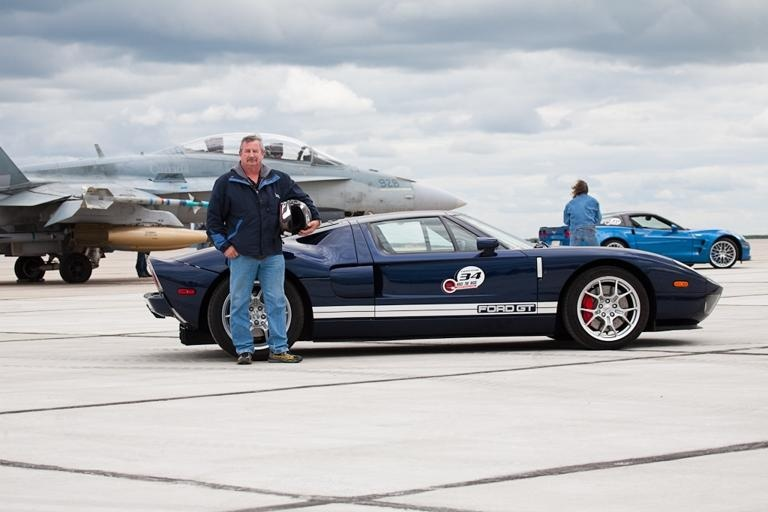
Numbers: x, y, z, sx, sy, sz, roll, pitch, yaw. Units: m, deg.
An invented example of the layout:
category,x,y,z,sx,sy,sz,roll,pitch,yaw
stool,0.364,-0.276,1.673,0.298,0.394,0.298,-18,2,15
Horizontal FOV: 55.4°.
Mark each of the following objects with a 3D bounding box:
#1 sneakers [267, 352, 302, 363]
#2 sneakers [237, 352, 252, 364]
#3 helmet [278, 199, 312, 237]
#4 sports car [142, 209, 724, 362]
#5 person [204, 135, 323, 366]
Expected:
category,x,y,z,sx,sy,sz,roll,pitch,yaw
sneakers,-1.032,1.058,7.663,0.427,0.118,0.116,-1,3,3
sneakers,-1.445,1.057,7.639,0.140,0.138,0.121,-1,6,-10
helmet,-0.914,-0.431,7.662,0.375,0.315,0.347,0,-8,-3
sports car,0.402,0.331,8.434,5.237,0.814,2.219,-2,1,-4
person,-1.354,-0.084,7.722,0.951,2.402,0.539,-1,7,-5
